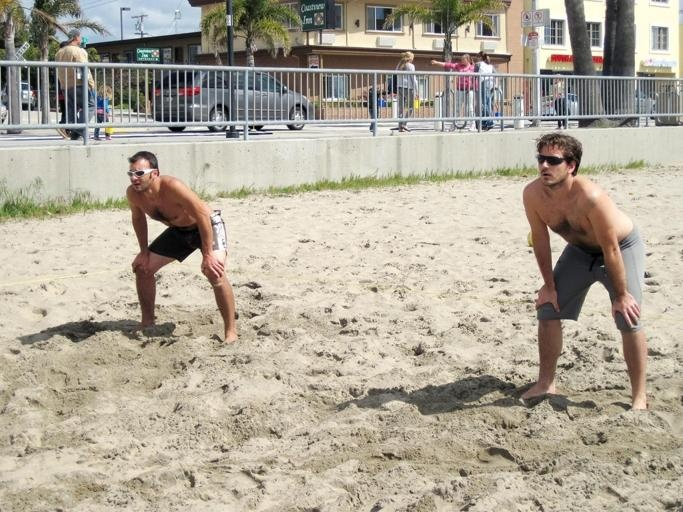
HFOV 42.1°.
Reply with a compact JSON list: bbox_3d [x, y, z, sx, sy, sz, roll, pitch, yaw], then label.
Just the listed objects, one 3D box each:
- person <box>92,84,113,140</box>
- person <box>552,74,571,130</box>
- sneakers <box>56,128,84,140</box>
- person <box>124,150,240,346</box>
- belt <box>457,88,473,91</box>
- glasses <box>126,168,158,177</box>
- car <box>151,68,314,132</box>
[{"bbox_3d":[-3.403,-2.025,12.619,0.276,0.857,0.863,-4,16,-15],"label":"person"},{"bbox_3d":[4.318,-2.988,17.387,0.383,1.006,0.359,-3,14,-12],"label":"person"},{"bbox_3d":[-3.779,-1.715,12.388,0.251,0.094,0.108,16,-7,-34],"label":"sneakers"},{"bbox_3d":[-1.464,-0.114,7.905,0.983,1.756,0.943,-1,12,11],"label":"person"},{"bbox_3d":[2.251,-3.038,16.142,0.356,0.085,0.027,-11,18,-34],"label":"belt"},{"bbox_3d":[-1.691,-0.711,7.534,0.235,0.081,0.101,-3,16,-11],"label":"glasses"},{"bbox_3d":[-1.739,-2.464,13.355,1.993,0.774,0.966,-12,16,-40],"label":"car"}]
